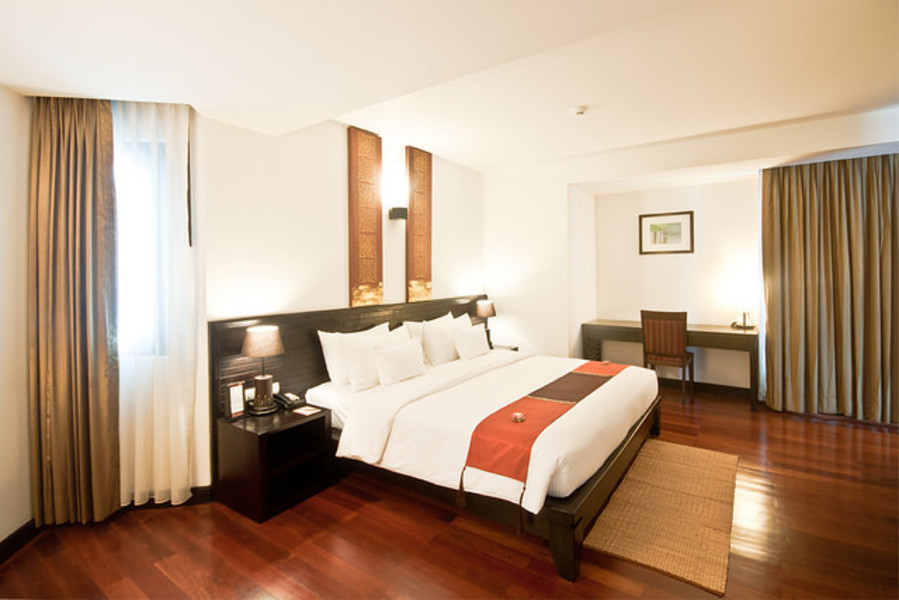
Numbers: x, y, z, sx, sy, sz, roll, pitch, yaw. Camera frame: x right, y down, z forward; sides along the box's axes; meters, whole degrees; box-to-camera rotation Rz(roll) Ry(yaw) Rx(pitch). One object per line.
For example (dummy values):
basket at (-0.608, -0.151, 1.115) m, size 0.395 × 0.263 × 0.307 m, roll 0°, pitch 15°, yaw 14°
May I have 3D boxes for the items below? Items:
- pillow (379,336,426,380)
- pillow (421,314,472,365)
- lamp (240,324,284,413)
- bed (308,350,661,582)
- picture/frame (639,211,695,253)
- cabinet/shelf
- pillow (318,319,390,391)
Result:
pillow at (-0.446, 0.578, 5.593) m, size 0.201 × 0.421 × 0.666 m, roll -9°, pitch -1°, yaw 37°
pillow at (-0.058, 0.404, 6.168) m, size 0.497 × 0.466 × 0.145 m, roll -2°, pitch -8°, yaw -36°
lamp at (-1.592, 0.600, 5.100) m, size 0.469 × 0.723 × 0.470 m, roll 0°, pitch 2°, yaw 11°
bed at (0.240, 1.131, 4.811) m, size 1.831 × 0.580 × 1.914 m, roll 2°, pitch 6°, yaw 32°
picture/frame at (2.679, -0.826, 7.357) m, size 0.613 × 0.503 × 0.024 m, roll -1°, pitch -8°, yaw 8°
cabinet/shelf at (-1.521, 1.348, 5.148) m, size 0.667 × 0.734 × 0.845 m, roll 6°, pitch 8°, yaw 25°
pillow at (-0.915, 0.506, 5.437) m, size 0.569 × 0.506 × 0.161 m, roll 2°, pitch -11°, yaw -43°
